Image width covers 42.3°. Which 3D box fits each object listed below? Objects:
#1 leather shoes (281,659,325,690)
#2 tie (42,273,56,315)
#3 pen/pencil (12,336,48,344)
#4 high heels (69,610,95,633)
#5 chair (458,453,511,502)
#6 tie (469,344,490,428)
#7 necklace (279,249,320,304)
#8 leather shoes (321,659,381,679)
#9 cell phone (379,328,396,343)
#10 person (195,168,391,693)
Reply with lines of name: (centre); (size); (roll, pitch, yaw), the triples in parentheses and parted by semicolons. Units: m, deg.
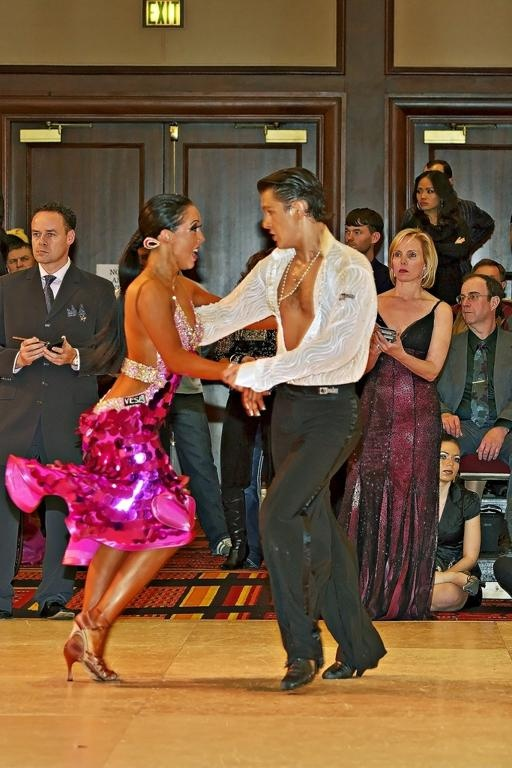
leather shoes: (0.122, 0.768, 1.751); (0.050, 0.053, 0.142); (0, 2, 24)
tie: (-0.945, -0.419, 3.030); (0.059, 0.165, 0.019); (0, -3, -4)
pen/pencil: (-0.991, -0.198, 2.933); (0.234, 0.023, 0.025); (5, 23, 16)
high heels: (-0.475, 0.639, 1.793); (0.088, 0.047, 0.036); (-9, -13, 44)
chair: (1.150, 0.465, 3.406); (0.257, 0.272, 0.229); (0, -7, 2)
tie: (1.208, 0.000, 3.591); (0.102, 0.459, 0.045); (-3, -11, 18)
necklace: (0.118, -0.305, 1.902); (0.028, 0.141, 0.094); (18, 2, -20)
leather shoes: (0.288, 0.824, 1.932); (0.176, 0.065, 0.056); (7, -15, -16)
cell phone: (0.542, -0.206, 2.750); (0.084, 0.028, 0.048); (25, -9, 37)
person: (0.070, 0.128, 1.871); (0.543, 1.414, 0.412); (-1, -10, 6)
